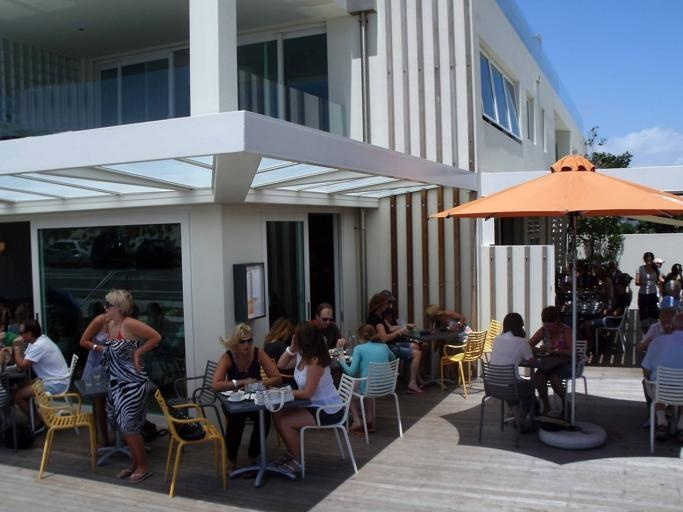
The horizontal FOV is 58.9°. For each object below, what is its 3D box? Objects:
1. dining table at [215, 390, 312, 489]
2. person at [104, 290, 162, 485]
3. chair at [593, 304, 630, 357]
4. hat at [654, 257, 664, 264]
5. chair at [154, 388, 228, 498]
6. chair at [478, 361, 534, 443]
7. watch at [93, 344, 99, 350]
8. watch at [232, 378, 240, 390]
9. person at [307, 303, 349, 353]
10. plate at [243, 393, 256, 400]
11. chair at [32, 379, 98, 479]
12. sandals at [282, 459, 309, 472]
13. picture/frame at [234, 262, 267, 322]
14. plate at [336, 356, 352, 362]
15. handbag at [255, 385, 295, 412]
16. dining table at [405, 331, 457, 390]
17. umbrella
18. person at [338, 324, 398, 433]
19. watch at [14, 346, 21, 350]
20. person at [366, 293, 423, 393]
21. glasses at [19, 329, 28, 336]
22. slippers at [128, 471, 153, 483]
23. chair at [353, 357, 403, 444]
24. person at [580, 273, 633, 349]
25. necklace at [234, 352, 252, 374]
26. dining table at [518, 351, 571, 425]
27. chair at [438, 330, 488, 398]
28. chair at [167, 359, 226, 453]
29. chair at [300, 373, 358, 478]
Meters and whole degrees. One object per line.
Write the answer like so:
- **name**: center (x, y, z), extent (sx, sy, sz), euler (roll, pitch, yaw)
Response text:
- **dining table**: center (-1.023, 2.335, 7.824), extent (1.134, 0.953, 1.173), euler (-3, -5, 25)
- **person**: center (-2.792, 1.694, 8.003), extent (0.637, 2.408, 0.669), euler (-4, 8, -20)
- **chair**: center (6.098, 1.532, 13.832), extent (0.752, 1.089, 0.781), euler (7, 21, 39)
- **hat**: center (9.957, 0.137, 18.972), extent (0.192, 0.167, 0.296), euler (-10, 11, -41)
- **chair**: center (-1.966, 2.409, 7.966), extent (0.773, 1.227, 0.762), euler (-3, 4, -26)
- **chair**: center (2.413, 2.060, 8.770), extent (0.637, 1.241, 0.694), euler (0, 4, 45)
- **watch**: center (-3.583, 1.312, 8.770), extent (0.053, 0.075, 0.067), euler (-4, -37, -13)
- **watch**: center (-1.376, 1.651, 7.777), extent (0.068, 0.103, 0.107), euler (0, 8, 13)
- **person**: center (-0.260, 1.304, 9.653), extent (0.626, 1.036, 0.673), euler (1, 11, 7)
- **plate**: center (-1.168, 1.762, 7.630), extent (0.151, 0.062, 0.134), euler (-2, 8, 2)
- **chair**: center (-3.823, 2.331, 8.365), extent (0.848, 1.138, 0.795), euler (-2, 3, -40)
- **sandals**: center (-0.633, 2.715, 7.854), extent (0.265, 0.125, 0.149), euler (8, 2, 16)
- **picture/frame**: center (-1.473, 0.552, 9.477), extent (0.272, 1.111, 0.871), euler (-1, 0, 14)
- **plate**: center (0.040, 1.574, 9.326), extent (0.152, 0.081, 0.114), euler (3, 0, 34)
- **handbag**: center (-0.858, 1.770, 7.537), extent (0.323, 0.179, 0.444), euler (-3, 0, -16)
- **dining table**: center (1.659, 1.816, 11.254), extent (0.929, 1.010, 0.943), euler (0, -1, 44)
- **umbrella**: center (3.559, 0.247, 9.292), extent (3.668, 3.653, 3.707), euler (-3, -6, 45)
- **person**: center (0.334, 1.832, 9.116), extent (0.723, 1.639, 0.804), euler (3, 4, -33)
- **watch**: center (-4.999, 1.391, 9.273), extent (0.069, 0.081, 0.075), euler (1, -5, 6)
- **person**: center (0.982, 1.576, 10.965), extent (0.875, 1.884, 0.696), euler (-7, -1, 2)
- **glasses**: center (-4.899, 1.165, 9.269), extent (0.068, 0.084, 0.083), euler (4, 6, 29)
- **slippers**: center (-2.652, 2.866, 7.922), extent (0.124, 0.097, 0.253), euler (-3, -10, 23)
- **chair**: center (0.438, 2.112, 9.021), extent (0.817, 1.180, 0.828), euler (0, 1, 33)
- **person**: center (6.274, 1.393, 14.207), extent (0.902, 1.974, 0.722), euler (6, 7, 20)
- **necklace**: center (-1.306, 1.403, 8.004), extent (0.163, 0.265, 0.066), euler (2, 0, -24)
- **dining table**: center (3.057, 2.194, 8.991), extent (0.755, 0.734, 1.349), euler (-1, 2, 24)
- **chair**: center (2.197, 1.910, 11.125), extent (0.593, 1.150, 0.644), euler (-2, 6, -42)
- **chair**: center (-2.194, 2.178, 9.088), extent (0.680, 0.979, 0.707), euler (15, 13, 30)
- **chair**: center (-0.234, 2.271, 8.287), extent (0.937, 1.250, 0.985), euler (1, 1, 29)
